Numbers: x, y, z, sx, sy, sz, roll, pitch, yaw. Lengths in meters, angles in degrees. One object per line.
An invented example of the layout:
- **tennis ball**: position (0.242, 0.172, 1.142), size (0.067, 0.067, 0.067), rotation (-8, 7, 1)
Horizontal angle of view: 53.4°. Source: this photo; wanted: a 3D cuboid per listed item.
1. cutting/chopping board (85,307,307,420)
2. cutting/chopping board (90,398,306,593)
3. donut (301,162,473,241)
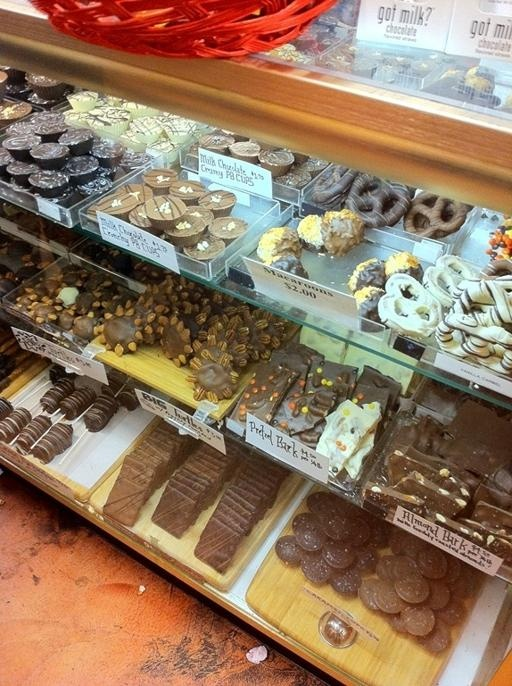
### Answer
- **cutting/chopping board**: position (-0.319, 0.103, 1.688), size (0.418, 0.044, 0.409), rotation (24, 46, 22)
- **cutting/chopping board**: position (-0.206, 0.585, 1.792), size (0.590, 0.140, 0.620), rotation (23, 55, 21)
- **donut**: position (0.348, -0.379, 1.369), size (0.324, 0.071, 0.291), rotation (22, 41, 21)
